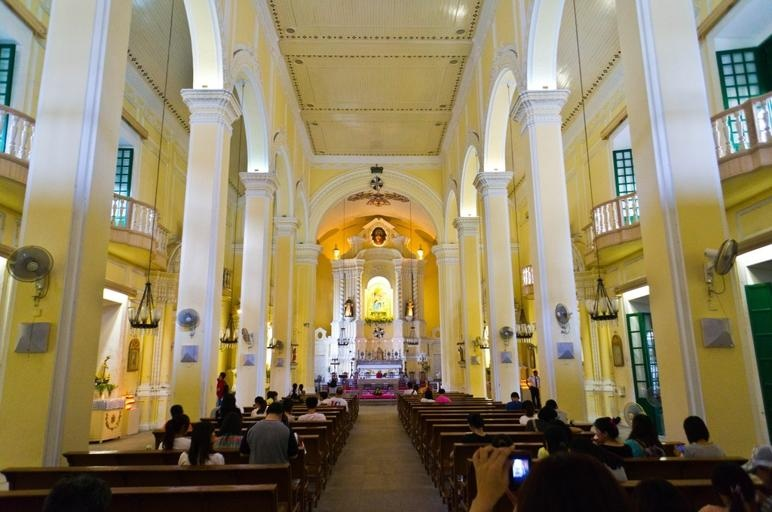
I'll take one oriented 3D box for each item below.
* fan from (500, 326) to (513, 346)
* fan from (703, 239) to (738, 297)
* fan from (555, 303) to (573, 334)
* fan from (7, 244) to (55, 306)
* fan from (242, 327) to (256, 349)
[{"bbox_3d":[2.770,1.827,11.731,0.302,0.395,0.123,1,6,4],"label":"fan"},{"bbox_3d":[4.037,0.139,6.218,0.386,0.630,0.267,-12,-19,31],"label":"fan"},{"bbox_3d":[3.131,1.105,9.069,0.352,0.441,0.141,-22,-4,34],"label":"fan"},{"bbox_3d":[-4.196,0.200,6.089,0.454,0.676,0.196,2,-17,-10],"label":"fan"},{"bbox_3d":[-3.051,1.817,11.409,0.174,0.547,0.213,-9,4,1],"label":"fan"}]
